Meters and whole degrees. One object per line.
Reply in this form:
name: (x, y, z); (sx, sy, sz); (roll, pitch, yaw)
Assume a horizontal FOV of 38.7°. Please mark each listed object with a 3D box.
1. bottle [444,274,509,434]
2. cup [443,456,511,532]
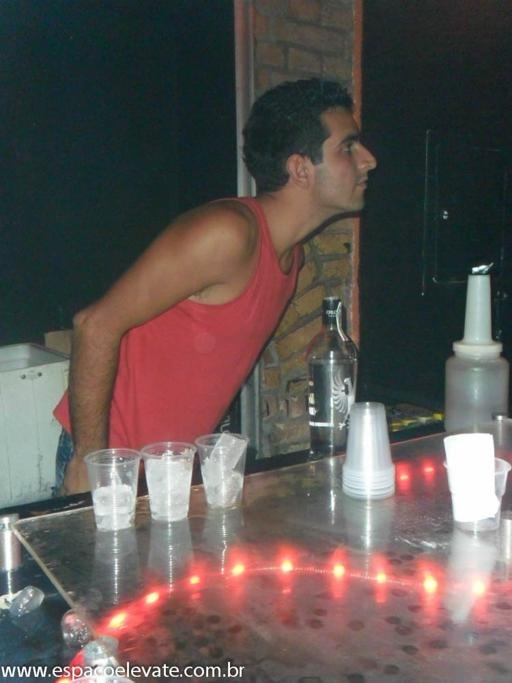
bottle: (0.496, 0.029, 1.651); (0.137, 0.357, 0.094); (0, 2, 13)
cup: (0.359, 0.224, 1.103); (0.105, 0.095, 0.105); (1, 3, 0)
